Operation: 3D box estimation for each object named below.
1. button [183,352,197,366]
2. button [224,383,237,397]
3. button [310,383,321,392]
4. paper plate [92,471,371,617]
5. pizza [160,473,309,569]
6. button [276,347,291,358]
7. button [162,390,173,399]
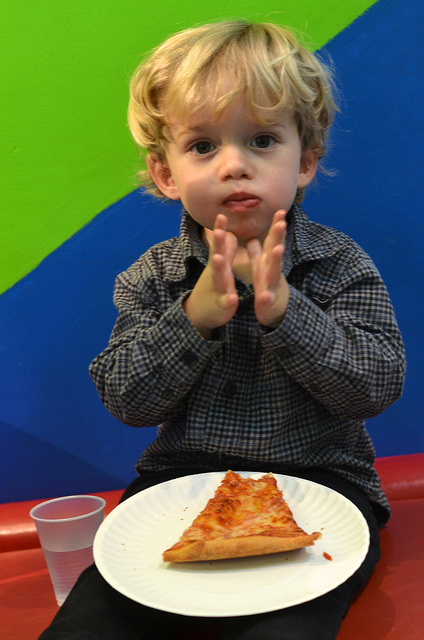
[{"bbox_3d":[-0.032,0.056,0.796,0.021,0.020,0.002,0,13,23],"label":"button"},{"bbox_3d":[0.028,0.109,0.853,0.021,0.019,0.004,2,-9,1],"label":"button"},{"bbox_3d":[0.146,0.095,0.777,0.012,0.012,0.003,9,37,30],"label":"button"},{"bbox_3d":[0.019,0.248,0.646,0.309,0.028,0.298,-9,11,-24],"label":"paper plate"},{"bbox_3d":[0.019,0.238,0.672,0.163,0.033,0.173,-5,10,-3],"label":"pizza"},{"bbox_3d":[0.097,0.044,0.748,0.014,0.012,0.003,6,49,2],"label":"button"},{"bbox_3d":[-0.068,0.113,0.832,0.015,0.016,0.005,-7,12,-9],"label":"button"}]
